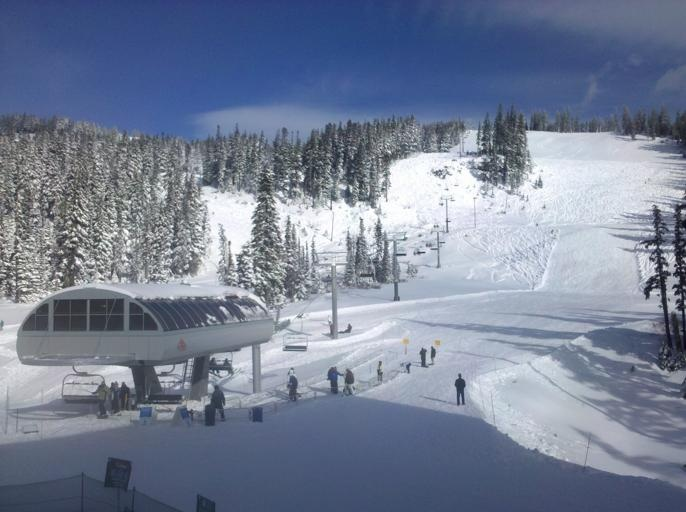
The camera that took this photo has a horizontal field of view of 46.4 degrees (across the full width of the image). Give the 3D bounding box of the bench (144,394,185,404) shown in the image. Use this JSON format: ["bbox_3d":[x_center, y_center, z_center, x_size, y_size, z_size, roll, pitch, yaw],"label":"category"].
[{"bbox_3d":[-12.256,9.823,54.959,2.313,0.590,0.760,-3,2,-7],"label":"bench"}]

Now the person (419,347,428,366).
[{"bbox_3d":[6.428,8.044,63.966,0.539,1.360,1.313,-2,2,6],"label":"person"}]

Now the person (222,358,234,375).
[{"bbox_3d":[-8.836,8.476,61.427,1.045,0.626,1.420,0,5,2],"label":"person"}]

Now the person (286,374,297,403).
[{"bbox_3d":[-3.535,9.167,55.942,0.581,1.724,0.956,-2,2,-6],"label":"person"}]

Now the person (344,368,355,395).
[{"bbox_3d":[0.453,8.925,56.844,0.737,1.730,0.752,-3,2,-11],"label":"person"}]

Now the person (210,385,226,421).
[{"bbox_3d":[-8.343,9.714,53.233,0.873,2.337,1.481,-3,2,-11],"label":"person"}]
